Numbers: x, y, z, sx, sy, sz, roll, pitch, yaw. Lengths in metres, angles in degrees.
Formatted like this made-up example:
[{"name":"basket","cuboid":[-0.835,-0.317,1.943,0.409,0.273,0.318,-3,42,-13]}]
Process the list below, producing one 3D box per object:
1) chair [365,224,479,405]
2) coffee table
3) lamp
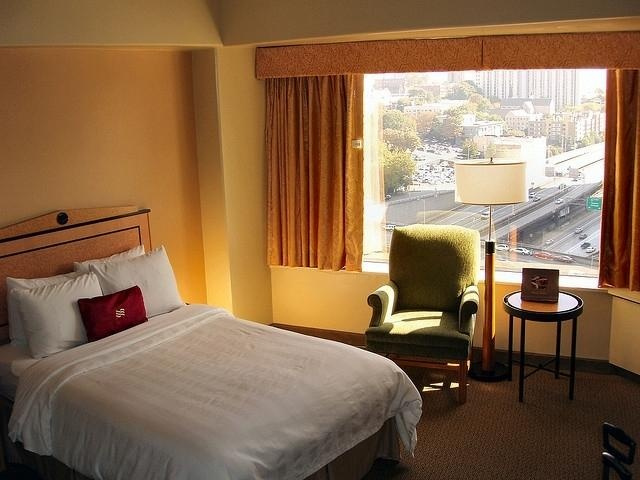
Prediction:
[{"name":"chair","cuboid":[1.133,0.613,5.077,1.321,2.197,1.452,2,2,17]},{"name":"coffee table","cuboid":[2.071,1.006,4.529,0.587,0.856,0.629,-2,4,18]},{"name":"lamp","cuboid":[1.721,0.269,4.836,0.570,2.143,0.673,5,14,37]}]
